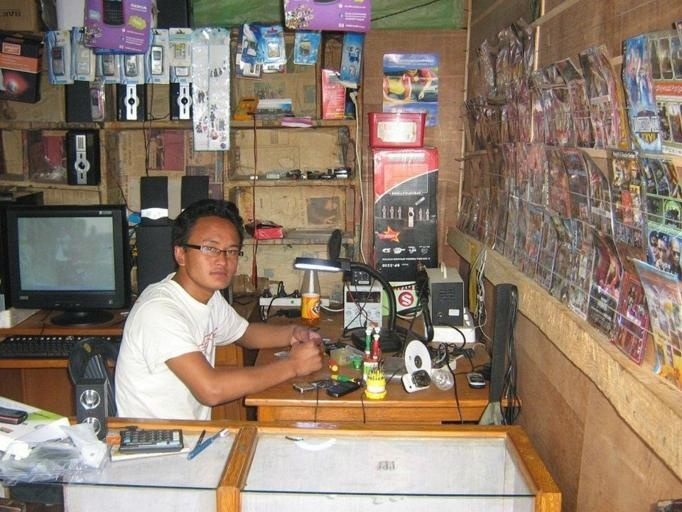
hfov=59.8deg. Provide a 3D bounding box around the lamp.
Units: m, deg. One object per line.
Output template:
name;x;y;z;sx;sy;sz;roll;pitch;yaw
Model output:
lamp;0.071;0.181;3.006;0.712;0.840;0.381;1;1;-4

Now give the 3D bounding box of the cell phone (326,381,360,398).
cell phone;0.009;0.561;2.521;0.055;0.022;0.100;13;16;42

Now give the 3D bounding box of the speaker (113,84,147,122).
speaker;-1.368;-0.990;3.793;0.176;0.257;0.075;1;12;-3

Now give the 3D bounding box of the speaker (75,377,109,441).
speaker;-0.792;0.454;1.873;0.079;0.149;0.086;8;30;-9

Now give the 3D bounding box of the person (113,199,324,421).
person;-0.523;0.216;2.485;0.519;0.900;0.781;5;10;42

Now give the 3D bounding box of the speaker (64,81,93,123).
speaker;-1.696;-0.991;3.884;0.175;0.255;0.248;-1;-24;-9

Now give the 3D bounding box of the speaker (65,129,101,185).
speaker;-1.713;-0.647;3.880;0.217;0.347;0.224;6;21;-4

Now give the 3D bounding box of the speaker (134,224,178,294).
speaker;-1.147;-0.049;3.676;0.261;0.523;0.296;0;-22;-19

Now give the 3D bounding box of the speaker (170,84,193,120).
speaker;-1.048;-1.050;3.892;0.176;0.255;0.146;-2;40;-18

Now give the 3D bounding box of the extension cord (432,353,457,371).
extension cord;0.484;0.490;2.715;0.094;0.079;0.075;-22;8;-7
